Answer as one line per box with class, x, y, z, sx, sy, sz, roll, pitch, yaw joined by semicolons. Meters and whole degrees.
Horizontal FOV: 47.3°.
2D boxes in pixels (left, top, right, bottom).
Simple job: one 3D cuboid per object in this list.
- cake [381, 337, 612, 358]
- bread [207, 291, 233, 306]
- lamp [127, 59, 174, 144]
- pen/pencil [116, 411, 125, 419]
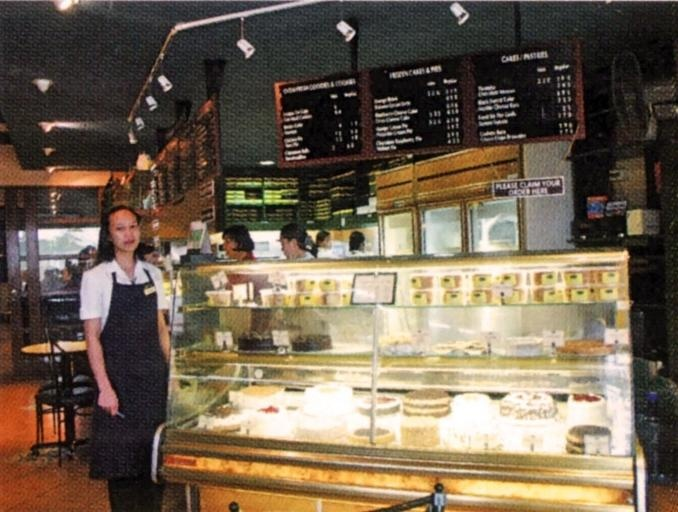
cake;1.164;0.681;5.717;1.623;0.108;0.138;-3;1;15
bread;-0.945;0.320;6.056;0.138;0.070;0.136;-1;-1;4
lamp;-2.143;-1.787;8.755;0.142;0.208;1.373;6;-23;-23
pen/pencil;-1.644;1.196;5.796;0.077;0.018;0.020;27;63;34
